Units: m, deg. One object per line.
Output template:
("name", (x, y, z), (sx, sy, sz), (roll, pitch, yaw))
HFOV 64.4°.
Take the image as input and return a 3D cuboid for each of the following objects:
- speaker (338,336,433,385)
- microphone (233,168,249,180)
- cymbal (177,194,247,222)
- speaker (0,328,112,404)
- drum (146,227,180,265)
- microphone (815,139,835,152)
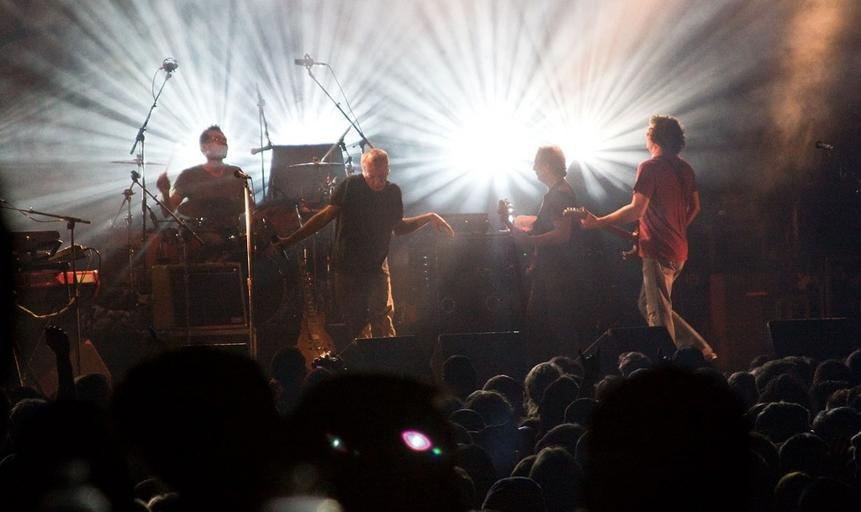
("speaker", (-0.396, 0.977, 6.740), (0.614, 0.367, 0.582), (1, 1, -22))
("microphone", (-2.088, -0.917, 7.634), (0.157, 0.154, 0.403), (-1, 8, -26))
("cymbal", (-2.862, -0.641, 8.962), (0.560, 0.108, 0.540), (2, -10, -33))
("speaker", (-3.994, 1.203, 7.693), (0.288, 1.030, 1.144), (-32, -15, 36))
("drum", (-3.892, -0.196, 9.841), (0.418, 0.617, 0.545), (-2, -25, -32))
("microphone", (5.060, -1.418, 8.723), (0.259, 0.059, 0.150), (25, -11, -22))
